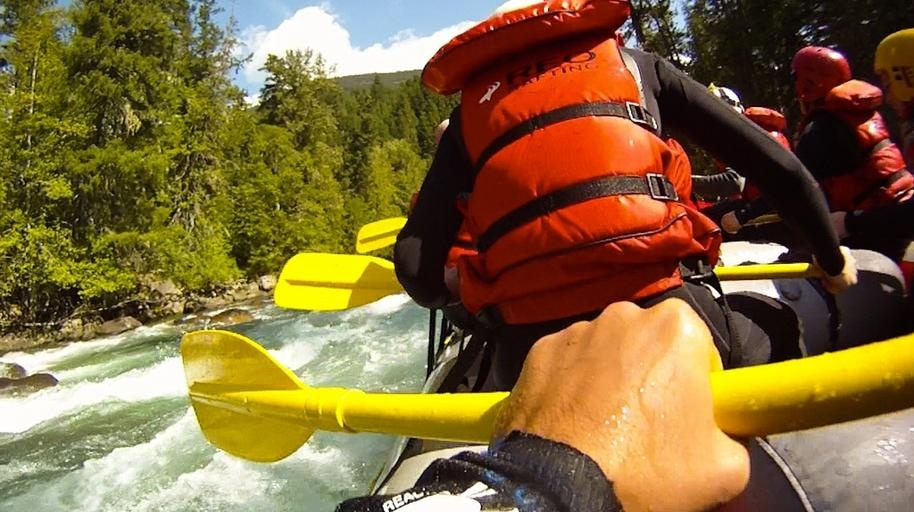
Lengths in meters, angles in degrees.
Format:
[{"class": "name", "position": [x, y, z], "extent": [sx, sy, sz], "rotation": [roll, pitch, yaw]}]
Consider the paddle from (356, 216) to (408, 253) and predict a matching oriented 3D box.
[{"class": "paddle", "position": [-0.838, -0.247, 6.418], "extent": [0.611, 0.372, 0.146], "rotation": [-12, -26, 34]}]
